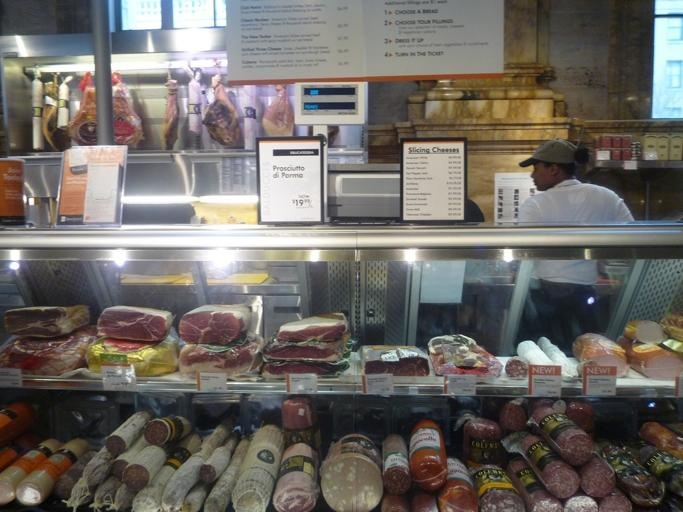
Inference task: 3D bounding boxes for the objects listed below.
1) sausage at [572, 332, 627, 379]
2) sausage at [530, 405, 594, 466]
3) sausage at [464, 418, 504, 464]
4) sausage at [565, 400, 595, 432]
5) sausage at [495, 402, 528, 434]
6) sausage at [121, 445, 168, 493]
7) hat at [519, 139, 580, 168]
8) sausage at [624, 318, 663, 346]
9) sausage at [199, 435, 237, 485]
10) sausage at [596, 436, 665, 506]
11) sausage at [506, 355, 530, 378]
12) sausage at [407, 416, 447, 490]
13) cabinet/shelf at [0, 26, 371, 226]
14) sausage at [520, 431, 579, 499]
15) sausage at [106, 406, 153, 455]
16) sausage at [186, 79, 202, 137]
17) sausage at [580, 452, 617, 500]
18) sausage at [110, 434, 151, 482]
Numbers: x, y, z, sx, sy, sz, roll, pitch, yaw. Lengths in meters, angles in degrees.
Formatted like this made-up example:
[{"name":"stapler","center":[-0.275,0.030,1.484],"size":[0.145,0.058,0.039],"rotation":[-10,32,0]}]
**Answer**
[{"name":"sausage","center":[1.001,0.381,2.379],"size":[0.164,0.126,0.174],"rotation":[1,11,-3]},{"name":"sausage","center":[0.848,0.704,2.342],"size":[0.184,0.101,0.181],"rotation":[-26,32,-14]},{"name":"sausage","center":[0.563,0.747,2.442],"size":[0.157,0.147,0.164],"rotation":[1,-6,-5]},{"name":"sausage","center":[0.945,0.631,2.413],"size":[0.118,0.116,0.116],"rotation":[-3,7,16]},{"name":"sausage","center":[0.690,0.657,2.491],"size":[0.102,0.124,0.074],"rotation":[3,3,-23]},{"name":"sausage","center":[-0.777,0.844,2.368],"size":[0.099,0.104,0.159],"rotation":[25,-4,-5]},{"name":"hat","center":[1.275,-0.633,3.762],"size":[0.290,0.134,0.186],"rotation":[4,9,23]},{"name":"sausage","center":[1.186,0.306,2.393],"size":[0.098,0.096,0.116],"rotation":[-1,1,-2]},{"name":"sausage","center":[-0.502,0.827,2.434],"size":[0.059,0.059,0.223],"rotation":[6,11,7]},{"name":"sausage","center":[1.096,0.841,2.341],"size":[0.112,0.108,0.264],"rotation":[-21,38,-10]},{"name":"sausage","center":[0.683,0.444,2.398],"size":[0.064,0.081,0.027],"rotation":[-3,-10,10]},{"name":"sausage","center":[0.328,0.786,2.371],"size":[0.170,0.158,0.386],"rotation":[-7,26,11]},{"name":"cabinet/shelf","center":[-1.427,-0.940,4.565],"size":[2.596,1.502,0.975],"rotation":[3,14,18]},{"name":"sausage","center":[0.789,0.819,2.331],"size":[0.103,0.180,0.203],"rotation":[-10,16,-32]},{"name":"sausage","center":[-0.856,0.713,2.474],"size":[0.090,0.082,0.231],"rotation":[17,21,12]},{"name":"sausage","center":[-1.150,-1.172,4.717],"size":[0.123,0.417,0.192],"rotation":[-5,14,-13]},{"name":"sausage","center":[0.942,0.838,2.312],"size":[0.144,0.135,0.157],"rotation":[-13,-2,18]},{"name":"sausage","center":[-0.843,0.795,2.447],"size":[0.068,0.068,0.233],"rotation":[34,48,6]}]
